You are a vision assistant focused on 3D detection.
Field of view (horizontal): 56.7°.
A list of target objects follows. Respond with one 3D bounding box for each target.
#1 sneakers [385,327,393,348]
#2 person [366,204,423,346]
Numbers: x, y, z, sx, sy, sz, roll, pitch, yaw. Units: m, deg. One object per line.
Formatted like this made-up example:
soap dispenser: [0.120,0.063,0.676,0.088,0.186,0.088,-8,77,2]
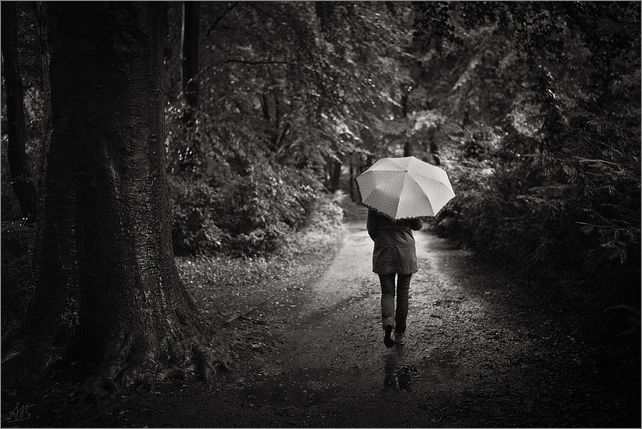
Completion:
sneakers: [1.071,1.938,9.383,0.127,0.315,0.131,-2,-15,2]
person: [1.126,0.980,9.630,0.689,2.181,0.956,9,17,43]
